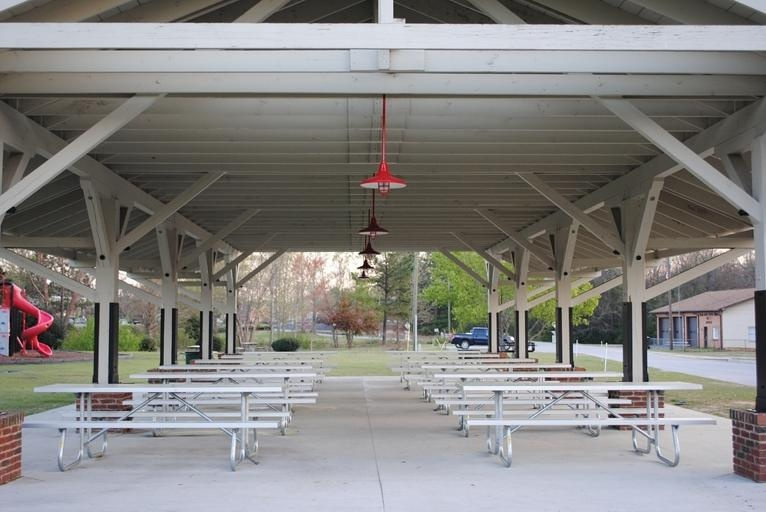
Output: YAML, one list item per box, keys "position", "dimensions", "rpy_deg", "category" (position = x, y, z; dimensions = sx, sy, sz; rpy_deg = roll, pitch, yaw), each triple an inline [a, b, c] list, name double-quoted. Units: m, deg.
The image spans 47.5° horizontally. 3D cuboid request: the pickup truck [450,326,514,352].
- position: [4.500, 4.222, 41.356]
  dimensions: [3.480, 1.225, 1.628]
  rpy_deg: [-3, -3, 7]
  category: "pickup truck"
